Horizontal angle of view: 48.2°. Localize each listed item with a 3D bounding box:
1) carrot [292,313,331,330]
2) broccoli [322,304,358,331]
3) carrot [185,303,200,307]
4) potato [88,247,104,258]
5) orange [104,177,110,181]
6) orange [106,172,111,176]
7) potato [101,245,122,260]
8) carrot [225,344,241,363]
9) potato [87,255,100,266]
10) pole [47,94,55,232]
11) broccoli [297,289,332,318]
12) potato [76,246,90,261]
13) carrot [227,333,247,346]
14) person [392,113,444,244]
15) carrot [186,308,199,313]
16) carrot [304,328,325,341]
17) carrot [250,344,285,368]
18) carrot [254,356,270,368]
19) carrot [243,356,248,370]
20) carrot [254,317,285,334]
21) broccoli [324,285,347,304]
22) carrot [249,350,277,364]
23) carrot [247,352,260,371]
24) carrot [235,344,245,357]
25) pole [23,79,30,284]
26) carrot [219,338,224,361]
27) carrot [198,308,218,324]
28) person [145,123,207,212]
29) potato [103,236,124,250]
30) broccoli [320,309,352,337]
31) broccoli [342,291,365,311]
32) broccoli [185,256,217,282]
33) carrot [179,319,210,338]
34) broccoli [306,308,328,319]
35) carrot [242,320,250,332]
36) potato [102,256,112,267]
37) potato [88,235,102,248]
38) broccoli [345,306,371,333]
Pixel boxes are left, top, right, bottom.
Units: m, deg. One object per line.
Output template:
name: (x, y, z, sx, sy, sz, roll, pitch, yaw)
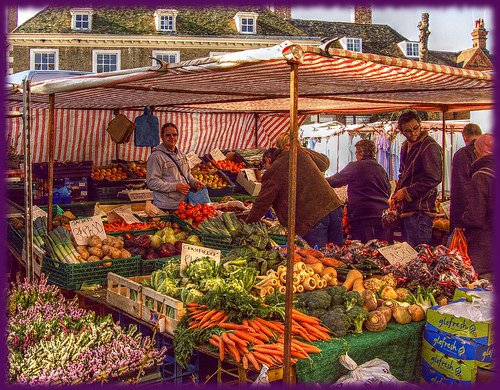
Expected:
carrot: (0.528, 1.097, 4.839, 0.353, 0.057, 0.051, 18, 15, 15)
broccoli: (0.803, 1.048, 4.959, 0.193, 0.148, 0.236, 2, 10, -13)
carrot: (-0.496, 0.960, 4.900, 0.104, 0.035, 0.035, 0, -21, 1)
potato: (-1.696, 0.619, 6.147, 0.105, 0.062, 0.116, 19, 4, -12)
orange: (-2.582, -0.295, 10.073, 0.069, 0.045, 0.095, -2, 7, -31)
orange: (-2.619, -0.391, 10.373, 0.079, 0.070, 0.095, 0, 4, -15)
potato: (-1.520, 0.601, 6.147, 0.201, 0.091, 0.106, 30, 20, 21)
carrot: (-0.142, 1.270, 4.571, 0.055, 0.046, 0.218, 14, 26, -35)
potato: (-1.691, 0.704, 6.048, 0.070, 0.081, 0.070, 4, 2, 11)
pole: (-2.580, -0.466, 7.250, 0.181, 1.875, 0.144, 1, 10, -21)
broccoli: (0.605, 0.966, 5.096, 0.189, 0.155, 0.244, -3, 9, -33)
potato: (-1.852, 0.641, 6.193, 0.109, 0.085, 0.148, 19, 19, -43)
carrot: (-0.104, 1.184, 4.584, 0.148, 0.028, 0.039, 35, 19, 35)
person: (2.235, -0.198, 7.495, 0.649, 1.744, 0.498, 3, 4, 35)
carrot: (-0.516, 1.003, 4.895, 0.106, 0.038, 0.026, 3, 4, 29)
carrot: (0.545, 1.181, 4.757, 0.127, 0.022, 0.023, 35, 40, 9)
carrot: (0.156, 1.284, 4.528, 0.203, 0.169, 0.050, 9, -11, -12)
carrot: (0.097, 1.339, 4.493, 0.153, 0.045, 0.046, 22, 47, 38)
carrot: (-0.036, 1.339, 4.468, 0.026, 0.094, 0.026, 11, -28, -15)
carrot: (0.161, 1.110, 4.765, 0.230, 0.032, 0.034, 33, -14, 13)
broccoli: (0.797, 0.924, 5.208, 0.152, 0.083, 0.120, 9, 10, 38)
carrot: (0.097, 1.301, 4.508, 0.153, 0.027, 0.044, 22, 15, 0)
carrot: (0.026, 1.319, 4.473, 0.051, 0.045, 0.216, 1, 51, -31)
carrot: (-0.080, 1.263, 4.565, 0.123, 0.032, 0.027, 51, 20, 11)
pole: (-2.345, -0.164, 5.871, 0.048, 2.060, 0.316, -1, 3, -21)
carrot: (-0.231, 1.257, 4.580, 0.036, 0.159, 0.033, -2, -10, -3)
carrot: (-0.353, 1.007, 4.743, 0.034, 0.186, 0.036, 42, -8, 44)
person: (-1.126, -0.389, 8.147, 0.722, 1.276, 0.605, 0, 3, -8)
potato: (-1.549, 0.528, 6.349, 0.154, 0.081, 0.129, 15, 8, 5)
broccoli: (0.756, 1.093, 4.890, 0.173, 0.156, 0.227, -4, 30, -28)
broccoli: (0.943, 0.949, 5.096, 0.145, 0.162, 0.152, 26, -5, 17)
broccoli: (-0.450, 0.718, 5.371, 0.310, 0.246, 0.402, -13, -3, -3)
carrot: (-0.470, 1.144, 4.783, 0.345, 0.040, 0.041, -27, -12, 15)
broccoli: (0.606, 1.052, 5.015, 0.099, 0.056, 0.080, 11, 4, 21)
carrot: (-0.036, 1.093, 4.721, 0.023, 0.105, 0.026, -34, -20, 11)
potato: (-1.545, 0.718, 6.069, 0.083, 0.115, 0.090, 1, 1, 3)
potato: (-1.741, 0.516, 6.286, 0.103, 0.089, 0.144, 4, 7, -21)
broccoli: (0.950, 1.088, 4.911, 0.181, 0.206, 0.199, 0, -9, -7)
